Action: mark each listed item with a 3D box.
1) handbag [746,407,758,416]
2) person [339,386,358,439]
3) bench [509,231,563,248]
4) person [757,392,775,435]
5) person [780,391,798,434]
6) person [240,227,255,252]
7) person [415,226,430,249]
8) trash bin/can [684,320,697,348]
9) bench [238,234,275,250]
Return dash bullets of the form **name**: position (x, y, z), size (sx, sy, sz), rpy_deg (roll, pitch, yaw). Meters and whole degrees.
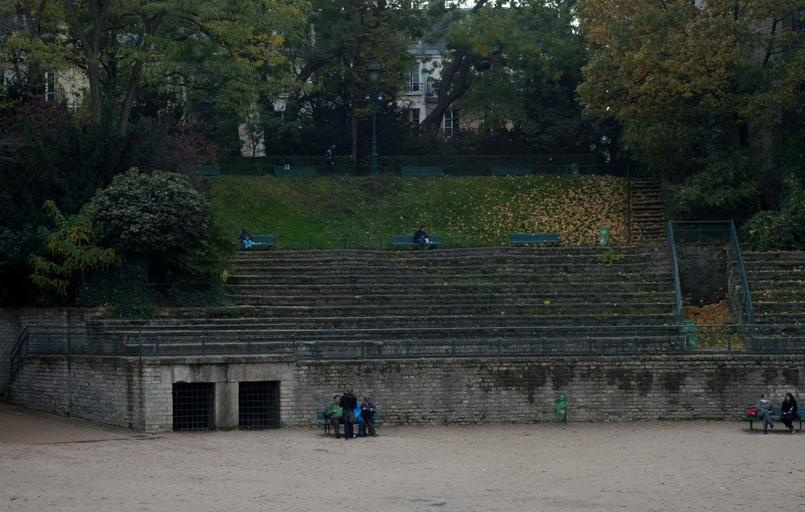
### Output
- **handbag**: position (16.185, 7.136, 93.801), size (0.470, 0.463, 0.781), rpy_deg (-2, -7, 9)
- **person**: position (-2.402, 7.045, 92.204), size (0.669, 2.399, 0.738), rpy_deg (-3, -7, 16)
- **bench**: position (7.295, -1.064, 109.747), size (2.445, 0.672, 0.167), rpy_deg (1, -10, 8)
- **person**: position (16.699, 7.168, 93.516), size (0.692, 1.827, 1.325), rpy_deg (-3, -7, 15)
- **person**: position (17.777, 7.135, 93.240), size (0.778, 1.832, 0.561), rpy_deg (-2, -7, 5)
- **person**: position (-8.145, -1.044, 108.221), size (0.607, 1.114, 0.758), rpy_deg (-3, -7, 14)
- **person**: position (1.137, -1.170, 109.233), size (0.812, 1.226, 0.571), rpy_deg (0, -7, -11)
- **trash bin/can**: position (13.474, 3.651, 95.019), size (0.645, 1.147, 0.572), rpy_deg (-4, -8, 24)
- **bench**: position (-7.645, -0.873, 108.454), size (2.239, 0.656, 0.825), rpy_deg (-2, -22, -28)
